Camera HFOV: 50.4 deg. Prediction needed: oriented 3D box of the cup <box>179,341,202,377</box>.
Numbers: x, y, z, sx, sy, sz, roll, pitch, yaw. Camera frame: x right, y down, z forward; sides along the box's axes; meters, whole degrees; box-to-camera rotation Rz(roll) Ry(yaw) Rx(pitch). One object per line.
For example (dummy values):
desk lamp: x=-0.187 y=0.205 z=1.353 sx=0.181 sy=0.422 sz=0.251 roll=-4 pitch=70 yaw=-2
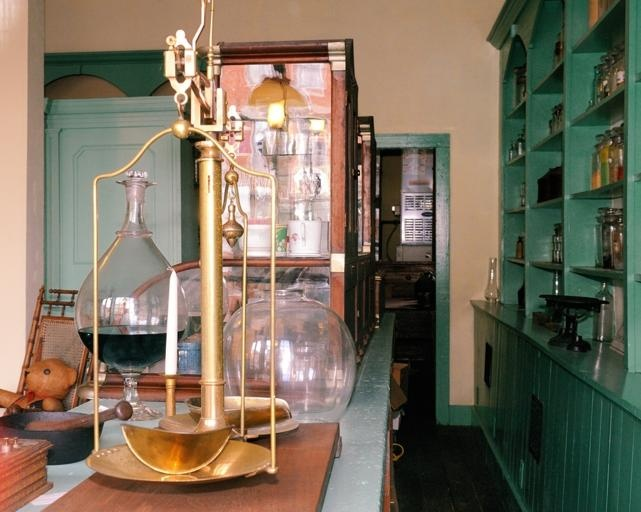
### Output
cup: x=-0.348 y=0.277 z=1.837 sx=0.069 sy=0.089 sz=0.074 roll=0 pitch=-3 yaw=0

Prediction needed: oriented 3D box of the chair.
chair: x=-1.105 y=0.397 z=2.815 sx=0.282 sy=0.588 sz=0.170 roll=2 pitch=-3 yaw=8

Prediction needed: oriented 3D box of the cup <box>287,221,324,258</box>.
cup: x=-0.042 y=-0.050 z=2.019 sx=0.088 sy=0.111 sz=0.104 roll=0 pitch=-3 yaw=-1

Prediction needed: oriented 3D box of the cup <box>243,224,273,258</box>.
cup: x=-0.179 y=-0.048 z=2.091 sx=0.081 sy=0.097 sz=0.086 roll=0 pitch=-2 yaw=0

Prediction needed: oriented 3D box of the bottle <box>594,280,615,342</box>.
bottle: x=1.229 y=0.241 z=2.955 sx=0.081 sy=0.258 sz=0.290 roll=-1 pitch=2 yaw=22
